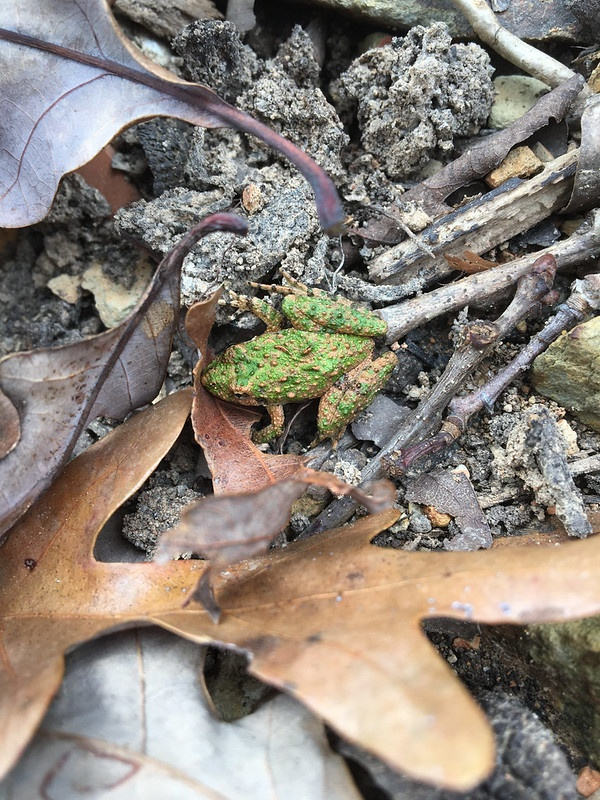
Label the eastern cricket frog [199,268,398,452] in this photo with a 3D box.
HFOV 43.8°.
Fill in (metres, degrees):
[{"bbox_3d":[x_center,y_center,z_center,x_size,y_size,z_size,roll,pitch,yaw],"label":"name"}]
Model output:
[{"bbox_3d":[0.020,-0.070,1.792,0.436,0.396,0.138,25,-2,46],"label":"eastern cricket frog"}]
